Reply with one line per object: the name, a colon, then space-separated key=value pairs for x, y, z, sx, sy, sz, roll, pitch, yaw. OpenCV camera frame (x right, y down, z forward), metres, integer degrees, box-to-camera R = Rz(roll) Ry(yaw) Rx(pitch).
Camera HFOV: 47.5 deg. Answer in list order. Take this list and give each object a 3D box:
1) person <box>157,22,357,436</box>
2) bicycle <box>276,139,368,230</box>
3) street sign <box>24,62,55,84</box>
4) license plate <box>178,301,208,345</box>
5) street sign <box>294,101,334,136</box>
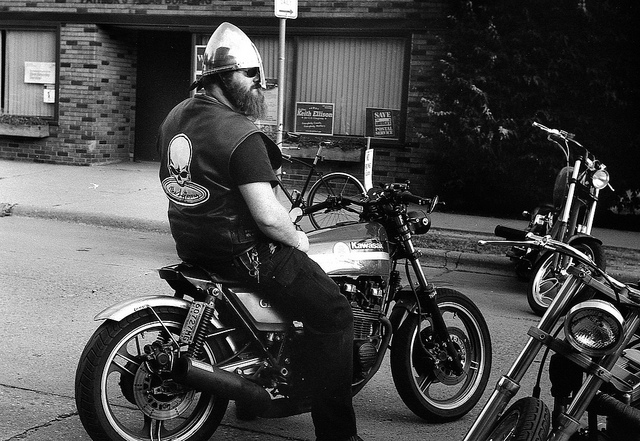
person: x=-0.435 y=0.080 z=4.875 sx=1.427 sy=2.621 sz=0.479 roll=4 pitch=13 yaw=6
bicycle: x=0.049 y=-0.400 z=11.531 sx=1.926 sy=1.132 sz=0.880 roll=4 pitch=11 yaw=7
street sign: x=-6.279 y=-3.304 z=16.198 sx=0.508 sy=0.759 sz=0.105 roll=-2 pitch=-4 yaw=4
license plate: x=-0.831 y=0.660 z=4.699 sx=0.123 sy=0.257 sz=0.142 roll=11 pitch=15 yaw=31
street sign: x=-0.099 y=-2.036 z=14.482 sx=0.916 sy=0.750 sz=0.069 roll=5 pitch=5 yaw=10
